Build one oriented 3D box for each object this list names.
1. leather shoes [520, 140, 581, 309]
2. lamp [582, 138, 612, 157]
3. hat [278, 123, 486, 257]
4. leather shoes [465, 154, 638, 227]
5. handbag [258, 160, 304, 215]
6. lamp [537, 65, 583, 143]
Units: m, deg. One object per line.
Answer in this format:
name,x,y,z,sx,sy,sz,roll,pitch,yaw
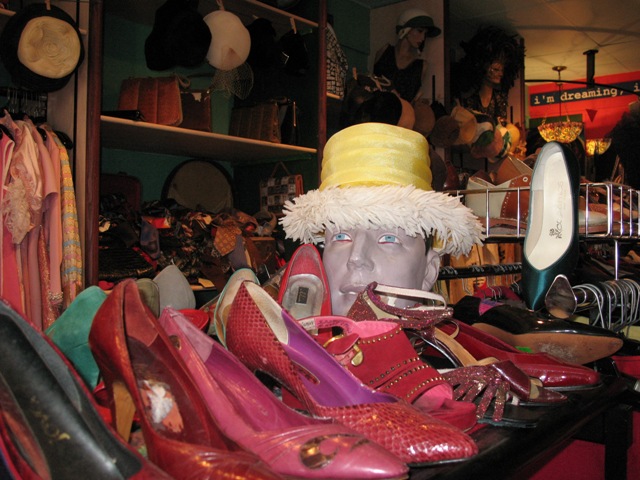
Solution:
leather shoes,0.470,-0.044,1.062,0.107,0.374,0.097,0,-10,45
lamp,3.199,-1.075,5.981,0.265,0.194,0.240,1,-5,-17
hat,0.121,-0.104,1.061,0.296,0.178,0.313,3,2,12
leather shoes,0.597,-0.095,1.360,0.370,0.152,0.263,0,6,18
handbag,-0.219,-0.272,2.736,0.212,0.292,0.073,-7,39,-15
lamp,2.540,-1.417,5.499,0.398,0.812,0.415,0,-1,5
